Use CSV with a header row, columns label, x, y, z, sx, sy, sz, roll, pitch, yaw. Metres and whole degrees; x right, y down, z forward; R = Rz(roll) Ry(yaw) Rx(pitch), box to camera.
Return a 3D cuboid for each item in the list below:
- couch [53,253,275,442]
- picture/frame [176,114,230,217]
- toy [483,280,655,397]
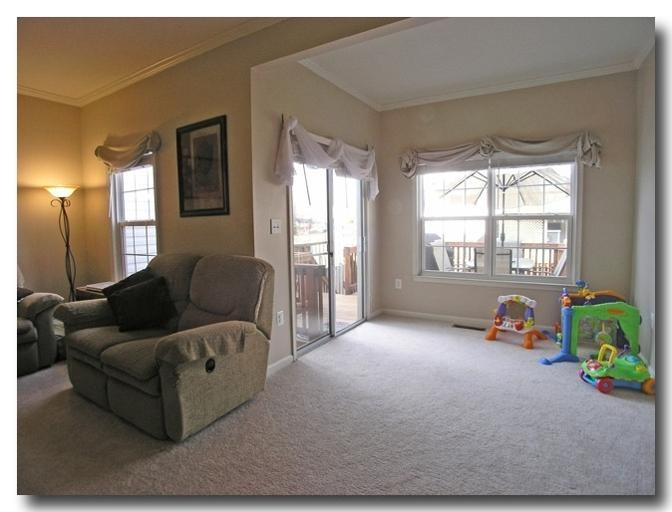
label,x,y,z,sx,sy,sz,roll,pitch,yaw
couch,-1.326,0.644,3.983,1.359,1.202,1.056,4,13,28
picture/frame,-1.230,-0.874,4.492,0.951,1.117,0.076,2,6,38
toy,2.242,0.748,4.599,1.078,0.446,0.844,0,5,22
